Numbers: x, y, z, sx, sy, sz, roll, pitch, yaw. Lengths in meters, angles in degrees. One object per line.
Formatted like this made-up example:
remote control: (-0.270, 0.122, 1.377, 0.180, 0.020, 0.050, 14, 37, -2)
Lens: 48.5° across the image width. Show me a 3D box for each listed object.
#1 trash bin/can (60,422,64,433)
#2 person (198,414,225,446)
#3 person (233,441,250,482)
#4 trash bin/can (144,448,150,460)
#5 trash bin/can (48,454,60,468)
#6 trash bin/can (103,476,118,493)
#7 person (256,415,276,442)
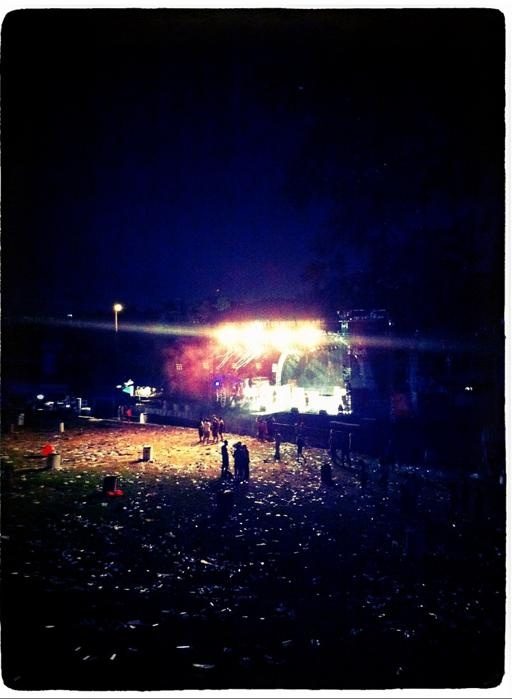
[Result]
trash bin/can: (-9.807, 3.933, 28.643, 0.301, 0.606, 0.322, 0, 6, -24)
person: (-1.998, 3.551, 25.123, 1.029, 1.090, 2.018, 0, 1, -6)
person: (-0.419, 3.230, 16.446, 0.417, 1.088, 0.746, 0, 1, -9)
trash bin/can: (-3.730, 3.571, 19.364, 0.324, 0.444, 0.208, 0, 1, 34)
trash bin/can: (-6.335, 3.497, 17.813, 0.345, 0.438, 0.368, 1, -2, -30)
trash bin/can: (-3.679, 3.363, 14.378, 0.318, 0.458, 0.360, 0, 3, -2)
person: (0.422, 3.548, 25.569, 0.656, 0.832, 1.358, 7, 9, 0)
